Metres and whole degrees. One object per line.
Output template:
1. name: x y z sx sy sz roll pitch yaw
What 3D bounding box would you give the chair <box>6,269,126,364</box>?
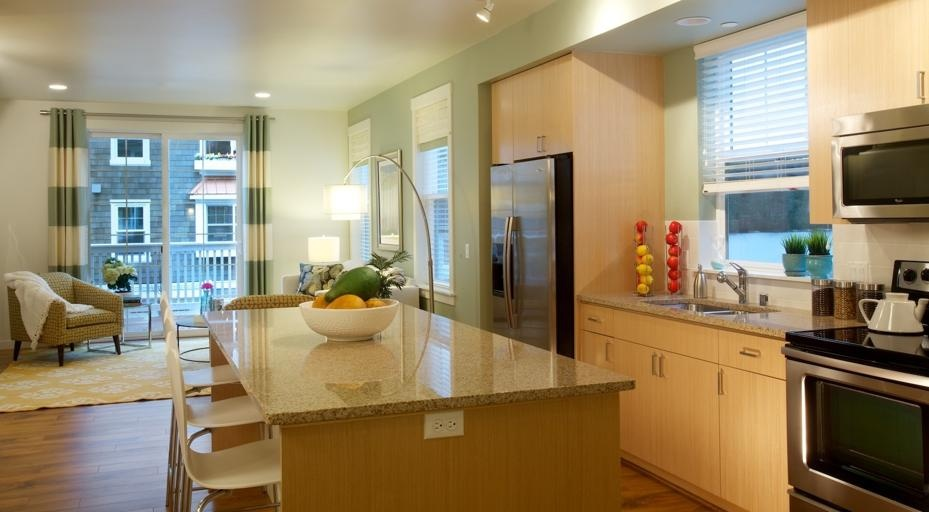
1. chair: -5.287 0.802 8.668 1.421 1.357 1.318 -3 -5 25

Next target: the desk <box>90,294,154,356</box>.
1. desk: -4.844 0.929 9.146 0.850 0.979 1.088 4 -5 -41

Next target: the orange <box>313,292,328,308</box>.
1. orange: -0.960 0.306 4.191 0.090 0.085 0.119 16 -28 -37

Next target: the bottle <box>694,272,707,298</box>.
1. bottle: 2.049 0.251 5.438 0.106 0.220 0.155 3 11 21

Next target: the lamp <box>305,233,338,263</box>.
1. lamp: -2.049 -0.098 9.029 0.406 0.386 0.375 -1 4 -7

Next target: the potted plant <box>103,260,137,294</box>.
1. potted plant: -4.966 0.290 8.956 0.511 0.462 0.478 -2 0 26

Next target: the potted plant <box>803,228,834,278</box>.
1. potted plant: 2.827 -0.008 4.982 0.203 0.348 0.396 5 12 29

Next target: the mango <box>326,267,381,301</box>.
1. mango: -0.703 0.183 4.177 0.373 0.172 0.185 -22 -1 -31

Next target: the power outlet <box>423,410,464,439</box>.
1. power outlet: -0.123 0.911 3.384 0.189 0.113 0.026 0 3 -14

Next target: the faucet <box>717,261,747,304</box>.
1. faucet: 2.274 0.216 5.272 0.220 0.339 0.336 4 12 25

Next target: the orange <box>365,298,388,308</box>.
1. orange: -0.580 0.310 4.140 0.075 0.046 0.088 2 4 13

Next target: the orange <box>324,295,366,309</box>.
1. orange: -0.755 0.307 4.028 0.213 0.095 0.108 -4 -20 -10
